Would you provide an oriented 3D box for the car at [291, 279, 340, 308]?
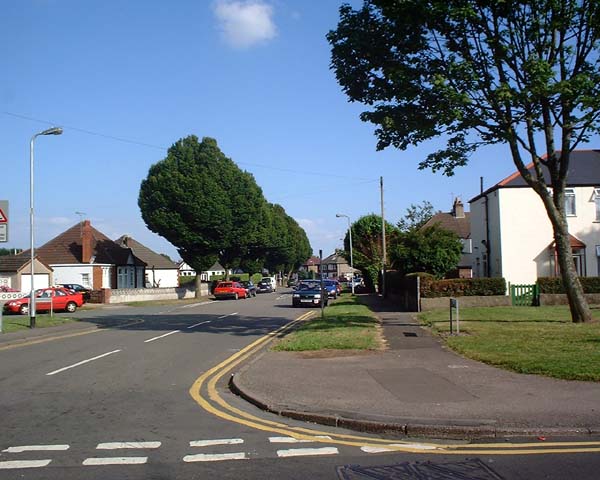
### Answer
[{"bbox_3d":[0.723,3.202,39.276,1.567,1.067,3.619,-2,-8,9],"label":"car"}]

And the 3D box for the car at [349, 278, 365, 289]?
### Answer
[{"bbox_3d":[5.925,4.248,65.137,1.244,0.871,2.596,-3,-9,12],"label":"car"}]

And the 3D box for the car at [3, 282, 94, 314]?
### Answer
[{"bbox_3d":[-13.772,3.218,35.467,4.210,1.369,1.811,4,-7,-43],"label":"car"}]
